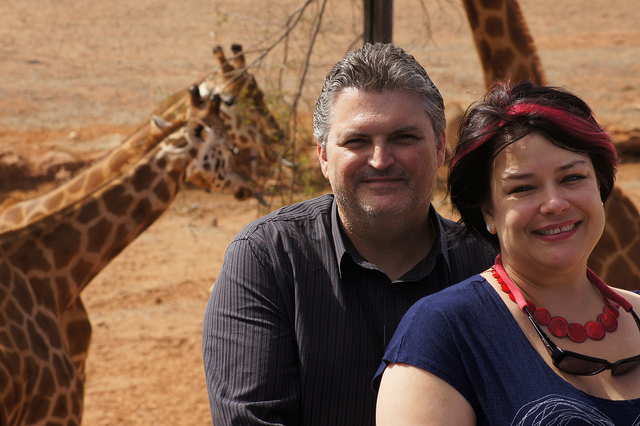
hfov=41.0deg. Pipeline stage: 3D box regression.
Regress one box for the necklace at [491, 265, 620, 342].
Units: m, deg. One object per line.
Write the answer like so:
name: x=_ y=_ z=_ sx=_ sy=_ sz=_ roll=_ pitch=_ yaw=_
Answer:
necklace: x=1.478 y=0.609 z=5.186 sx=0.508 sy=0.115 sz=0.475 roll=-20 pitch=64 yaw=-41
